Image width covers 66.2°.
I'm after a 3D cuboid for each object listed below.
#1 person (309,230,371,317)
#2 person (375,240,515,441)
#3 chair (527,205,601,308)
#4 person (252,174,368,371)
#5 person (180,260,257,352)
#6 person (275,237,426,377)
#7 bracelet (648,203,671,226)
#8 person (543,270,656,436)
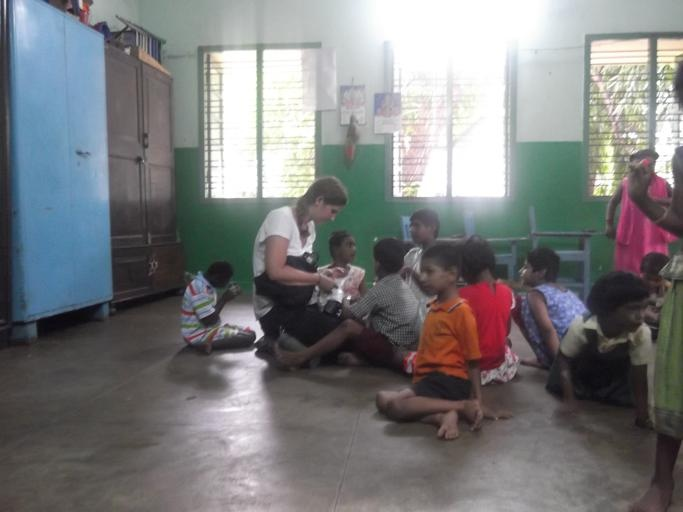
[{"bbox_3d":[0.011,0.140,3.887,0.418,0.759,0.554,1,1,28],"label":"person"},{"bbox_3d":[0.521,0.375,2.583,0.457,0.853,0.594,6,9,43],"label":"person"},{"bbox_3d":[2.488,0.082,6.103,0.981,1.270,0.823,-1,1,13],"label":"chair"},{"bbox_3d":[-0.245,0.087,3.658,0.774,1.276,0.743,6,0,-32],"label":"person"},{"bbox_3d":[-0.965,0.343,4.006,0.604,0.752,0.600,1,10,-16],"label":"person"},{"bbox_3d":[0.046,0.310,3.502,0.966,0.836,0.670,-4,-2,37],"label":"person"},{"bbox_3d":[1.182,-0.146,1.930,0.050,0.068,0.067,26,-36,-17],"label":"bracelet"},{"bbox_3d":[1.330,0.426,2.664,0.495,0.758,0.584,0,10,-10],"label":"person"}]
